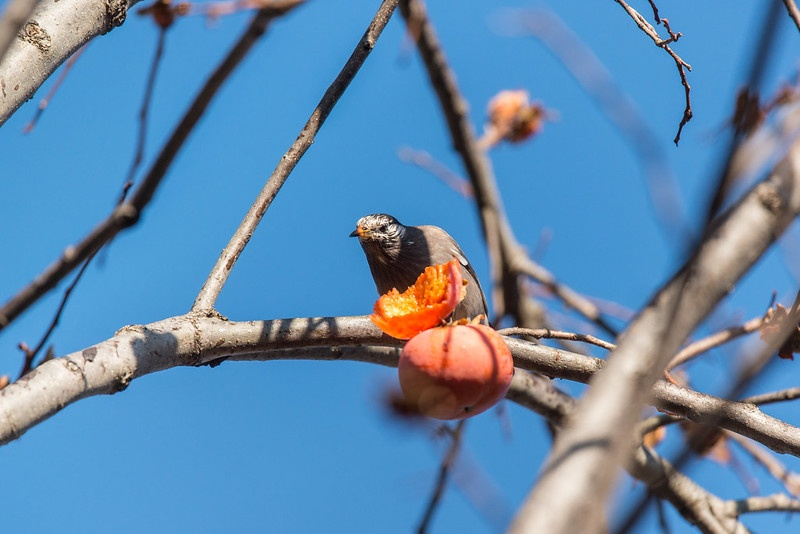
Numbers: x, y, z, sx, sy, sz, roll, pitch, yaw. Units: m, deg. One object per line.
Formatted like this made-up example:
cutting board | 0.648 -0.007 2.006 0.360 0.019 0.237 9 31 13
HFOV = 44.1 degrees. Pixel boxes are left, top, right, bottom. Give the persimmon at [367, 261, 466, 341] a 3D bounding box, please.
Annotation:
persimmon | 0.052 0.133 3.831 0.318 0.336 0.203 -11 -63 35
